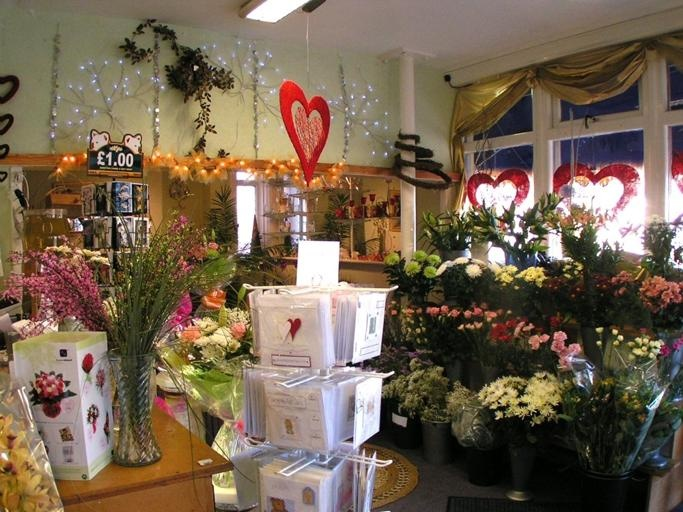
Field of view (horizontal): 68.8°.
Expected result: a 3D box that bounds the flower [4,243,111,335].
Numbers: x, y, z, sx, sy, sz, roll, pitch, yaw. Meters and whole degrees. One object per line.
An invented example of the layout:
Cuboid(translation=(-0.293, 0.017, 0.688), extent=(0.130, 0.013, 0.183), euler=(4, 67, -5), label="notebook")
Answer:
Cuboid(translation=(-1.143, 0.159, 2.001), extent=(0.382, 0.369, 0.806), euler=(-1, 4, -26), label="flower")

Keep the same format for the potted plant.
Cuboid(translation=(-0.736, 0.265, 2.094), extent=(0.683, 1.102, 0.750), euler=(-1, 3, -45), label="potted plant")

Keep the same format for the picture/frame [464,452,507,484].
Cuboid(translation=(1.065, 1.537, 3.716), extent=(0.248, 0.194, 0.254), euler=(1, -6, -24), label="picture/frame")
